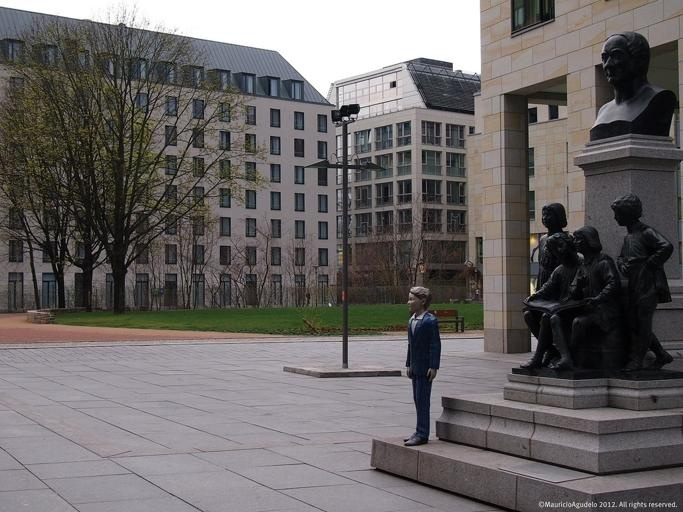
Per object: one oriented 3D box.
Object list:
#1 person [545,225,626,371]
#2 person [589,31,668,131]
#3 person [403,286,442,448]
[{"bbox_3d":[3.035,0.513,11.624,0.885,1.771,0.452,-2,-5,10],"label":"person"},{"bbox_3d":[3.917,-2.255,12.663,1.090,1.379,0.611,-2,-5,16],"label":"person"},{"bbox_3d":[1.033,1.410,12.113,0.472,1.992,0.441,-1,-5,3],"label":"person"}]
